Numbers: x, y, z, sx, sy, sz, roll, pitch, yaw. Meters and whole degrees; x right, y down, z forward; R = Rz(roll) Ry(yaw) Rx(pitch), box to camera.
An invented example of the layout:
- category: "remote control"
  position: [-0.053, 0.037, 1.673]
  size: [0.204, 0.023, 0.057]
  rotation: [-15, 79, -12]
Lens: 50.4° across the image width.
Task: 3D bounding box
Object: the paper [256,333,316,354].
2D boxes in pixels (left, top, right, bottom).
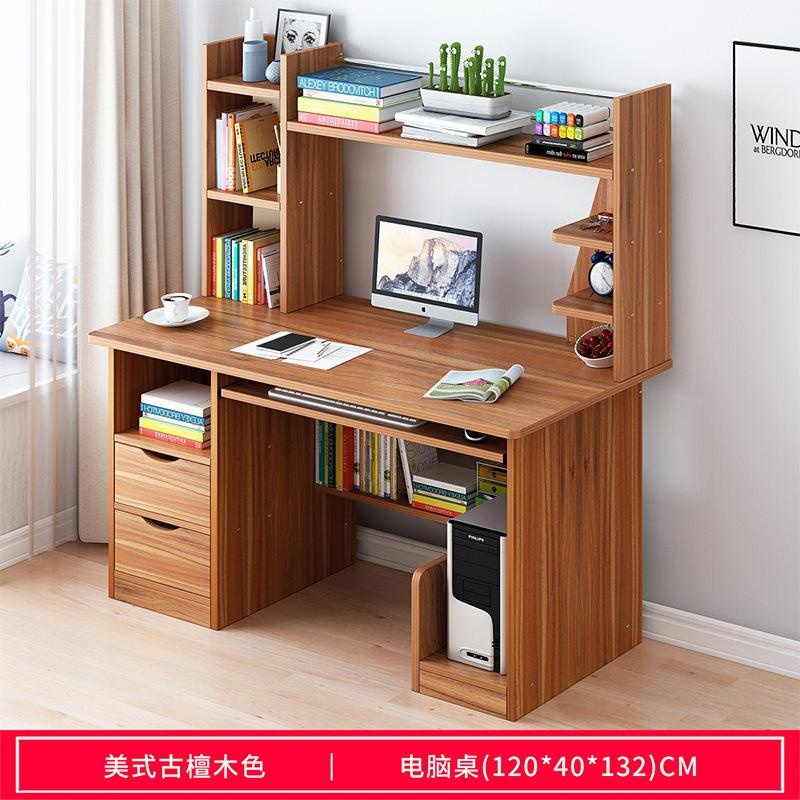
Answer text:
- category: "paper"
  position: [-0.309, -0.153, 2.280]
  size: [0.068, 0.011, 0.094]
  rotation: [17, 26, 31]

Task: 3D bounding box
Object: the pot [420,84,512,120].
- category: "pot"
  position: [0.162, -0.733, 2.109]
  size: [0.223, 0.087, 0.122]
  rotation: [1, 9, 3]

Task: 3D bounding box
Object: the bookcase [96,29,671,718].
- category: "bookcase"
  position: [-0.061, -0.069, 2.435]
  size: [1.436, 1.427, 1.290]
  rotation: [6, 12, 34]

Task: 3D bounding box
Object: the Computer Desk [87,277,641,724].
- category: "Computer Desk"
  position: [-0.118, 0.258, 2.412]
  size: [1.354, 0.765, 0.670]
  rotation: [10, 16, 34]

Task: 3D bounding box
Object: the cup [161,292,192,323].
- category: "cup"
  position: [-0.652, -0.265, 2.463]
  size: [0.083, 0.066, 0.094]
  rotation: [-1, 24, -4]

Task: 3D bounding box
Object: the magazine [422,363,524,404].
- category: "magazine"
  position: [0.173, -0.039, 1.992]
  size: [0.194, 0.066, 0.224]
  rotation: [4, 9, 17]

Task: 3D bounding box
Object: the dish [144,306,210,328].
- category: "dish"
  position: [-0.663, -0.233, 2.458]
  size: [0.104, 0.016, 0.100]
  rotation: [9, 22, 21]

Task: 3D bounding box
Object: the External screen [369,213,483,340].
- category: "External screen"
  position: [0.081, -0.343, 2.409]
  size: [0.341, 0.272, 0.098]
  rotation: [17, 29, 29]
